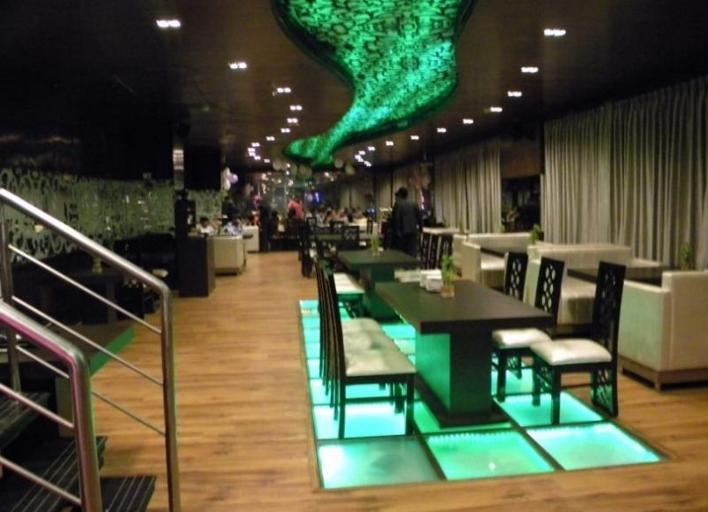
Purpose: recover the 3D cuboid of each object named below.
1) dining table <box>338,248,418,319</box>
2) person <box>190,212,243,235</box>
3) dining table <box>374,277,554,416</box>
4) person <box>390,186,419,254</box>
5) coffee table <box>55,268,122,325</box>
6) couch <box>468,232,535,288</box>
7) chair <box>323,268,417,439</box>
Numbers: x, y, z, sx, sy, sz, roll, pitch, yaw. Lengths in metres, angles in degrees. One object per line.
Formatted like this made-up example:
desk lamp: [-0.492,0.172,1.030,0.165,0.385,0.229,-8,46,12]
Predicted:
dining table: [0.275,0.240,7.572,0.871,0.945,0.921,-2,14,-13]
person: [-3.076,-0.724,12.589,0.823,0.397,0.876,0,-2,-8]
dining table: [0.877,0.797,4.931,1.066,0.935,1.272,0,7,-15]
person: [0.894,-0.525,9.895,0.494,0.986,0.287,1,6,-6]
coffee table: [-3.255,0.477,6.891,0.648,0.700,0.377,0,4,-4]
couch: [2.352,-0.031,9.517,0.960,0.865,0.987,-1,1,-25]
chair: [0.146,0.913,5.223,0.448,0.838,1.193,-2,6,-7]
